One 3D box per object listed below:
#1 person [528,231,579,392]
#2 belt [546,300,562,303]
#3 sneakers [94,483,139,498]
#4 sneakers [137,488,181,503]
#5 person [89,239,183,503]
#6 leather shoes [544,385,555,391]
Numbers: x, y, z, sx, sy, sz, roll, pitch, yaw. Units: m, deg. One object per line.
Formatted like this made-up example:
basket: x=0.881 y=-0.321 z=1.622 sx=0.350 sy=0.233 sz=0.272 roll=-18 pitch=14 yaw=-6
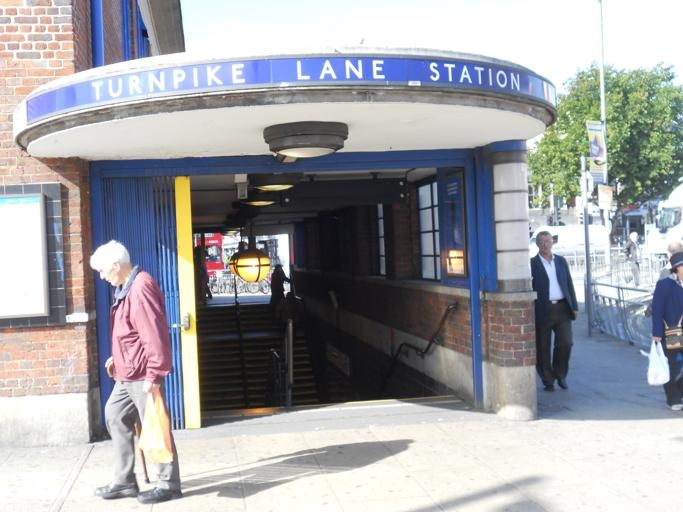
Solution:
person: x=3.081 y=0.818 z=11.194 sx=0.632 sy=2.323 sz=0.659 roll=1 pitch=6 yaw=16
belt: x=3.073 y=0.657 z=11.075 sx=0.130 sy=0.048 sz=0.032 roll=-3 pitch=6 yaw=-17
sneakers: x=-2.281 y=2.382 z=7.870 sx=0.435 sy=0.189 sz=0.171 roll=4 pitch=-11 yaw=-2
sneakers: x=-1.850 y=2.405 z=7.829 sx=0.423 sy=0.169 sz=0.157 roll=6 pitch=-5 yaw=-12
person: x=-2.065 y=1.164 z=7.741 sx=0.885 sy=2.607 sz=0.410 roll=2 pitch=6 yaw=26
leather shoes: x=3.019 y=1.911 z=11.179 sx=0.133 sy=0.134 sz=0.071 roll=0 pitch=-3 yaw=13
